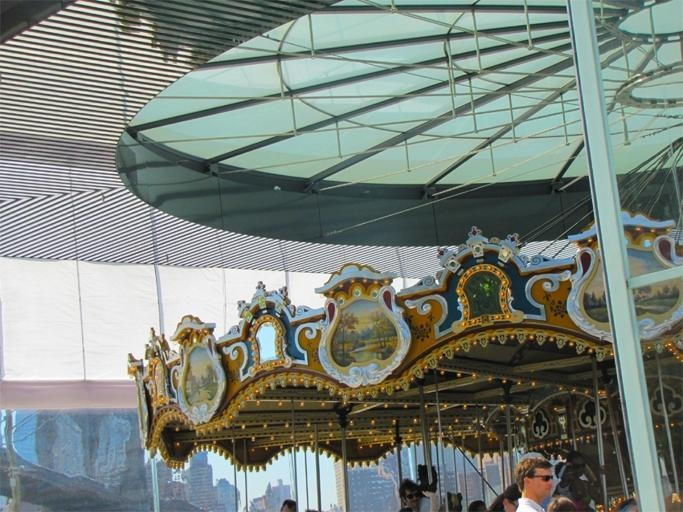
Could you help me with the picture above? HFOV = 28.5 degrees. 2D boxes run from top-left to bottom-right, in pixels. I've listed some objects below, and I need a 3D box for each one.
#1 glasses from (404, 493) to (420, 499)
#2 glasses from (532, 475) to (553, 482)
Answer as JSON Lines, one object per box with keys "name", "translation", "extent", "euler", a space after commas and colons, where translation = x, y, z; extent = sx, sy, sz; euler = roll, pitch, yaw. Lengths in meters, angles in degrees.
{"name": "glasses", "translation": [1.178, 3.860, 21.607], "extent": [0.229, 0.115, 0.054], "euler": [-4, -17, 3]}
{"name": "glasses", "translation": [2.615, 2.832, 17.158], "extent": [0.219, 0.085, 0.074], "euler": [6, -19, -31]}
